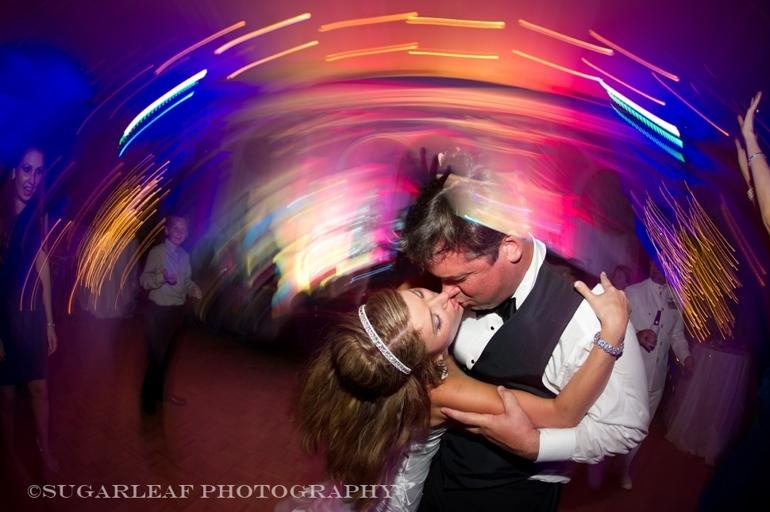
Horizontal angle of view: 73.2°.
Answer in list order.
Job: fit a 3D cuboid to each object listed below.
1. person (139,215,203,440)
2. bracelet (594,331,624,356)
[{"bbox_3d":[-2.610,0.786,6.137,0.518,2.635,0.614,12,-1,-3],"label":"person"},{"bbox_3d":[1.872,0.755,4.381,0.199,0.078,0.177,35,0,-19],"label":"bracelet"}]
